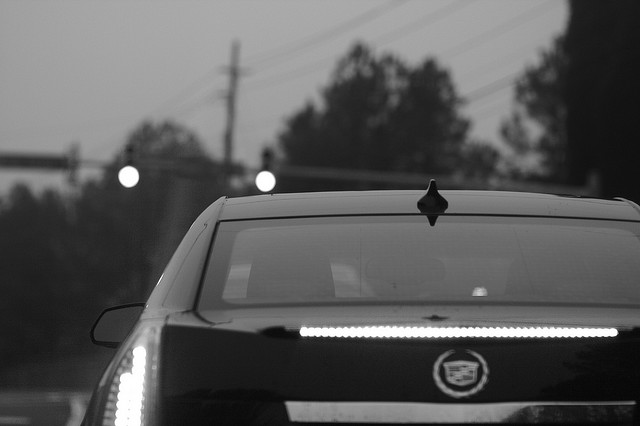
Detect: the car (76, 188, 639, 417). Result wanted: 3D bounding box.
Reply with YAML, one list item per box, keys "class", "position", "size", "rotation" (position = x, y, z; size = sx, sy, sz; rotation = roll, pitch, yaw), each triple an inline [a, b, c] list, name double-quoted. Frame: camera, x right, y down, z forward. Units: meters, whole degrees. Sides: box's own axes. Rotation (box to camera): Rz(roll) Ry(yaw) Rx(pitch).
- class: "car"
  position: [0.286, 0.336, 3.708]
  size: [2.171, 0.930, 0.716]
  rotation: [-1, -76, -6]

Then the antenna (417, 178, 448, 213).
- class: "antenna"
  position: [0.501, -0.090, 4.005]
  size: [0.126, 0.115, 0.149]
  rotation: [5, -45, 13]

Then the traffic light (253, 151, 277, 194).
- class: "traffic light"
  position: [-0.467, -0.352, 7.857]
  size: [0.197, 0.127, 0.357]
  rotation: [1, -76, 4]

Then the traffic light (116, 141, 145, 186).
- class: "traffic light"
  position: [-1.655, -0.450, 7.971]
  size: [0.285, 0.343, 0.339]
  rotation: [19, -88, -19]
